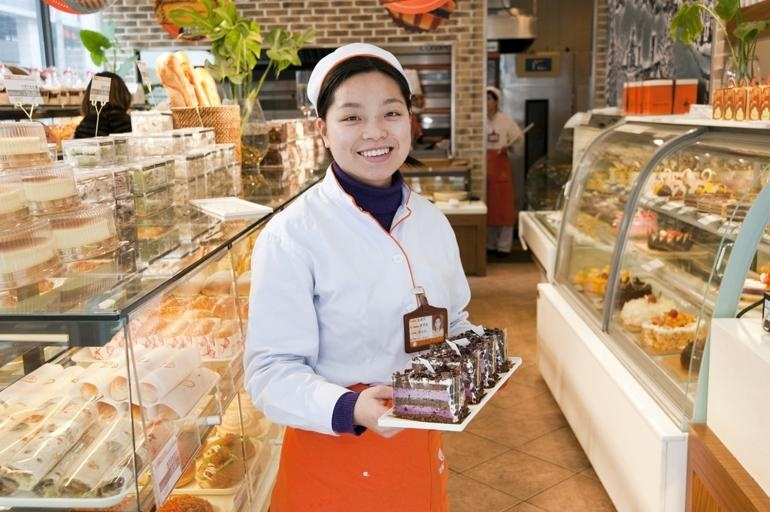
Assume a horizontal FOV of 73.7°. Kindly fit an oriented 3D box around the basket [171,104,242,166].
[{"bbox_3d":[-1.196,-0.755,3.353,0.430,0.317,0.439,6,12,41],"label":"basket"}]

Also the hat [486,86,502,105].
[{"bbox_3d":[1.561,-2.283,7.269,0.178,0.232,0.334,5,19,18],"label":"hat"}]

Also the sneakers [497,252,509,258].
[{"bbox_3d":[1.714,-0.017,7.455,0.088,0.088,0.144,1,1,11],"label":"sneakers"}]

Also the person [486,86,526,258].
[{"bbox_3d":[1.704,-1.216,7.421,0.517,2.341,0.728,3,19,14],"label":"person"}]
